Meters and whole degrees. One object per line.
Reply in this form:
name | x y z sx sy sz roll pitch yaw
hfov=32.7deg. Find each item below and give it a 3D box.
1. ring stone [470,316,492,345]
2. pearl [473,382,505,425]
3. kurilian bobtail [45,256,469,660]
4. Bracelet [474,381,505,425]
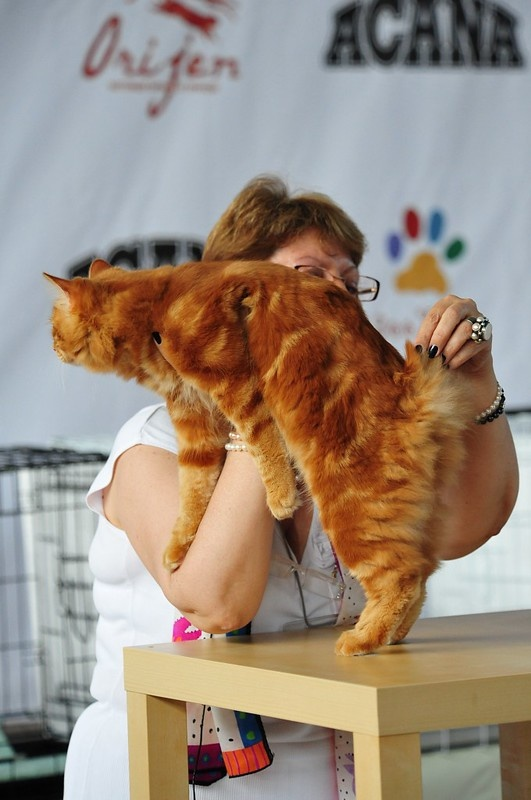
ring stone | 0.236 -0.079 0.999 0.028 0.029 0.014 2 -17 -9
pearl | 0.284 0.004 1.145 0.020 0.049 0.044 37 -46 -27
kurilian bobtail | 0.016 0.031 1.016 0.613 0.372 0.162 14 17 37
Bracelet | 0.283 0.003 1.119 0.020 0.051 0.042 30 49 16
